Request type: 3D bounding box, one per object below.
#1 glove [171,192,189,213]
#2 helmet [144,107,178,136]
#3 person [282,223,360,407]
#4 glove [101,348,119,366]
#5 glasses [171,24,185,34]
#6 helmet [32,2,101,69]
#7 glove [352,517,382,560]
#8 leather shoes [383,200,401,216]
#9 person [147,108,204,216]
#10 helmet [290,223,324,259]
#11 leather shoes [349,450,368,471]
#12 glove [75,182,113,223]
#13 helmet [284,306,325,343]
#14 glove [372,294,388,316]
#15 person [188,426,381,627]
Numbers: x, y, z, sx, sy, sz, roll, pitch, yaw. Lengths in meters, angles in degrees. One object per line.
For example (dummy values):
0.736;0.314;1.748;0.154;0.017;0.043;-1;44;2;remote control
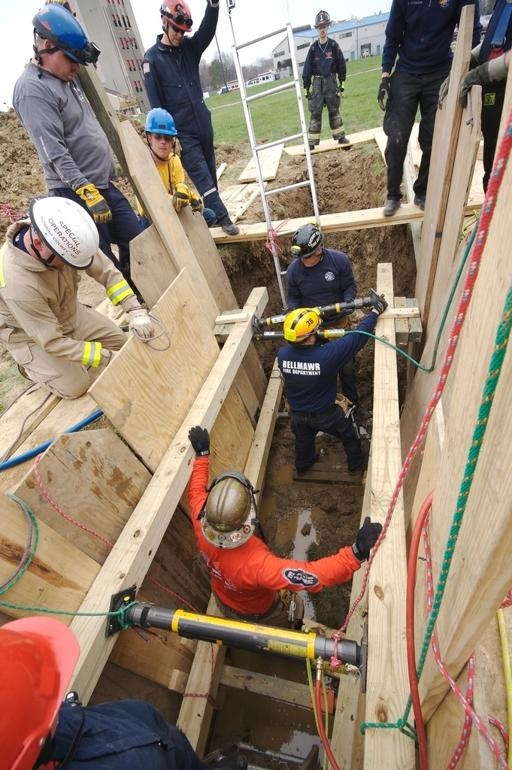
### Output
-0.588;-1.431;3.841;0.123;0.170;0.151;-6;35;2;glove
-0.719;-1.989;3.766;0.177;0.137;0.247;-9;53;-23;helmet
0.640;-0.564;4.568;0.578;1.831;0.590;-8;26;13;person
-0.853;-0.166;2.885;0.057;0.214;0.072;20;78;-3;glove
-0.612;-2.807;3.903;0.062;0.038;0.029;5;91;43;glasses
-1.195;-2.178;3.105;0.323;0.350;0.277;-29;40;-8;helmet
0.460;0.647;2.154;0.062;0.135;0.187;6;71;47;glove
1.201;-1.577;4.425;0.075;0.089;0.214;10;55;18;leather shoes
-0.736;-1.686;4.116;0.349;0.961;0.348;1;46;6;person
0.406;-1.157;4.029;0.250;0.242;0.227;-11;41;13;helmet
0.871;0.642;4.249;0.071;0.208;0.164;14;87;14;leather shoes
-1.075;-1.233;3.387;0.113;0.299;0.179;-27;86;1;glove
0.332;-0.416;3.458;0.196;0.143;0.265;24;68;24;helmet
0.903;-0.608;3.688;0.038;0.150;0.150;-9;77;39;glove
0.182;0.892;3.131;0.990;1.213;0.528;32;73;23;person
